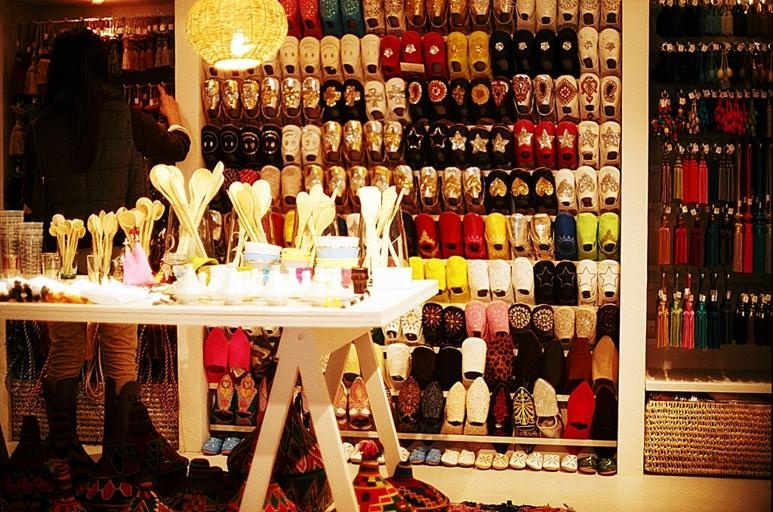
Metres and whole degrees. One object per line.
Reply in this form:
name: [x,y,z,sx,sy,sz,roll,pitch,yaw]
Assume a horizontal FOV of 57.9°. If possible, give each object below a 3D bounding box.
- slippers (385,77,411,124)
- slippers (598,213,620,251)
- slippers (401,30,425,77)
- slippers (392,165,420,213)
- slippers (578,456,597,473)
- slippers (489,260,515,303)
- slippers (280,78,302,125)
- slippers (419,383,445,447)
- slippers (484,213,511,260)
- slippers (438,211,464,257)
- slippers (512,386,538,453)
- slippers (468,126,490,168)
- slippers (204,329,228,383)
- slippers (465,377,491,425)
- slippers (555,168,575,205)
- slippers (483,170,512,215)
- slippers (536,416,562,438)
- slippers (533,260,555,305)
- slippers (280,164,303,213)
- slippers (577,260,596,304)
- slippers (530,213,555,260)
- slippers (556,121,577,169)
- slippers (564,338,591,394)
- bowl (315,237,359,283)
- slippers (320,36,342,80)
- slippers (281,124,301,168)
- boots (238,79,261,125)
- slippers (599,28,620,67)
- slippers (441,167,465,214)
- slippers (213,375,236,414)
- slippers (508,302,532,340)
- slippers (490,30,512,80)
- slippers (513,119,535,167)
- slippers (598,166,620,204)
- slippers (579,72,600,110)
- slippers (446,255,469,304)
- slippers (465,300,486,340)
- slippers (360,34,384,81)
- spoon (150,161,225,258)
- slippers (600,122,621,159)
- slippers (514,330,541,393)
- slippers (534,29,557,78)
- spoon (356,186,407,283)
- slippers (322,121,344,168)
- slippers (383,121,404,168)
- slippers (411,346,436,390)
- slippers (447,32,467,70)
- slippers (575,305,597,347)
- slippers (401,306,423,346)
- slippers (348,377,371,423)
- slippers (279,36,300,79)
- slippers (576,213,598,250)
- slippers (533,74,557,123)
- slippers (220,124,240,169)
slippers: [0.068,-0.995,4.418,0.099,0.302,0.089,-4,27,8]
slippers: [1.325,-0.154,4.172,0.116,0.233,0.073,1,7,27]
slippers: [0.158,-1.286,4.360,0.095,0.351,0.129,0,9,6]
slippers: [0.126,-0.439,4.348,0.109,0.357,0.135,-5,14,7]
slippers: [1.176,1.226,4.069,0.052,0.062,0.155,2,17,10]
slippers: [0.694,0.139,4.259,0.098,0.294,0.103,-3,10,15]
slippers: [-0.594,-0.997,4.434,0.114,0.261,0.074,0,2,4]
slippers: [0.274,0.944,4.191,0.134,0.287,0.082,1,-6,4]
slippers: [0.677,-0.129,4.297,0.105,0.347,0.107,-4,13,10]
slippers: [0.400,-0.140,4.325,0.102,0.337,0.106,-1,13,12]
slippers: [0.823,0.958,4.169,0.102,0.327,0.115,-2,4,10]
slippers: [0.574,-0.676,4.284,0.119,0.243,0.076,1,14,18]
slippers: [-1.037,0.588,4.261,0.125,0.379,0.139,3,13,0]
slippers: [0.553,0.882,4.223,0.129,0.273,0.092,4,-2,9]
slippers: [1.069,-0.412,4.217,0.081,0.241,0.092,0,9,20]
slippers: [0.681,-0.407,4.321,0.111,0.334,0.124,2,9,12]
slippers: [0.968,1.020,4.156,0.066,0.119,0.111,12,5,42]
slippers: [0.962,0.151,4.251,0.096,0.300,0.110,1,9,9]
slippers: [-0.588,-0.455,4.373,0.119,0.361,0.123,1,8,4]
slippers: [1.190,0.141,4.151,0.086,0.282,0.108,2,15,20]
slippers: [0.946,-0.118,4.244,0.105,0.323,0.122,-2,16,16]
slippers: [1.086,-0.678,4.218,0.115,0.278,0.080,4,12,23]
slippers: [1.150,0.639,4.180,0.114,0.371,0.140,2,0,14]
bowl: [-0.188,0.024,2.735,0.164,0.196,0.168,-1,-5,0]
slippers: [-0.352,-1.271,4.443,0.118,0.236,0.081,-1,16,6]
slippers: [-0.596,-0.709,4.425,0.115,0.238,0.074,-1,7,3]
boots: [-0.857,-0.986,4.447,0.113,0.245,0.078,2,12,4]
slippers: [1.324,-1.248,4.134,0.113,0.228,0.070,1,9,13]
slippers: [0.411,-0.424,4.342,0.127,0.256,0.081,-1,3,11]
slippers: [-0.987,0.857,4.278,0.118,0.232,0.075,1,0,5]
slippers: [0.813,0.381,4.252,0.087,0.249,0.086,2,12,12]
slippers: [0.711,-1.244,4.277,0.105,0.342,0.117,-1,17,6]
slippers: [0.847,-0.707,4.295,0.091,0.331,0.124,-1,17,13]
slippers: [1.322,-0.420,4.141,0.100,0.245,0.097,0,13,15]
slippers: [1.214,-0.993,4.177,0.110,0.223,0.071,1,11,11]
slippers: [0.429,0.132,4.308,0.101,0.321,0.110,-1,9,10]
slippers: [0.549,0.386,4.302,0.096,0.253,0.095,-2,4,10]
slippers: [-0.097,-1.267,4.429,0.103,0.315,0.110,0,15,6]
spoon: [-0.784,-0.187,2.777,0.226,0.375,0.206,4,8,24]
slippers: [1.333,-0.693,4.135,0.106,0.223,0.069,2,12,17]
slippers: [0.858,0.635,4.240,0.128,0.400,0.103,2,9,23]
slippers: [0.974,-1.251,4.256,0.094,0.307,0.105,1,15,8]
spoon: [-0.011,-0.109,2.933,0.196,0.354,0.092,-2,8,-24]
slippers: [-0.341,-0.699,4.362,0.097,0.293,0.110,0,9,1]
slippers: [0.047,-0.706,4.368,0.092,0.277,0.106,1,21,7]
slippers: [0.230,0.678,4.322,0.134,0.270,0.079,2,10,8]
slippers: [0.441,-1.280,4.331,0.117,0.236,0.074,-1,15,8]
slippers: [1.198,0.422,4.213,0.112,0.223,0.076,5,8,24]
slippers: [0.164,0.428,4.338,0.121,0.240,0.077,3,11,18]
slippers: [-0.150,0.907,4.289,0.124,0.406,0.154,-1,3,4]
slippers: [-0.614,-1.273,4.432,0.149,0.244,0.081,-1,11,2]
slippers: [1.202,-0.152,4.186,0.109,0.219,0.082,1,8,22]
slippers: [0.972,-0.982,4.281,0.092,0.303,0.104,-4,19,18]
slippers: [-0.970,-0.687,4.349,0.088,0.251,0.095,0,20,0]
